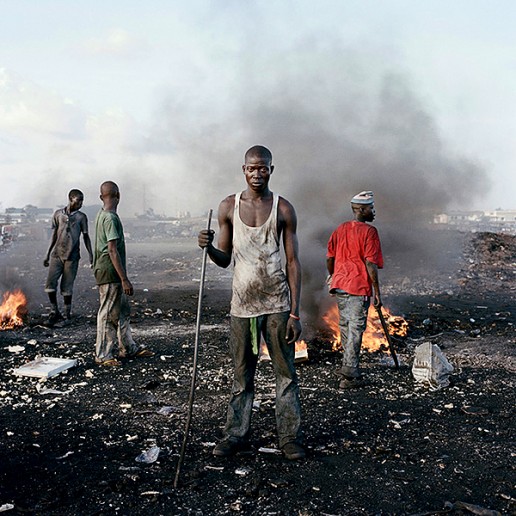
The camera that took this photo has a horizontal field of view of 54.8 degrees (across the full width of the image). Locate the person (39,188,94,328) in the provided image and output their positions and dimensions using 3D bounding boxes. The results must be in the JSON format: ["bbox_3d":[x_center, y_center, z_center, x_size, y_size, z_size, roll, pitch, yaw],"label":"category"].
[{"bbox_3d":[-2.802,-0.021,7.372,0.663,1.941,0.949,-2,4,-23],"label":"person"}]

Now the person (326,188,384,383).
[{"bbox_3d":[0.956,0.270,4.912,0.508,1.864,0.670,0,4,0],"label":"person"}]

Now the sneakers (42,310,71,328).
[{"bbox_3d":[-2.918,0.915,7.299,0.173,0.206,0.481,0,-7,16],"label":"sneakers"}]

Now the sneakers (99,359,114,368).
[{"bbox_3d":[-1.616,1.108,5.290,0.159,0.061,0.162,-1,4,-14],"label":"sneakers"}]

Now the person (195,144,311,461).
[{"bbox_3d":[-0.020,0.278,3.293,0.650,2.029,0.509,0,4,4],"label":"person"}]

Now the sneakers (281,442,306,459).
[{"bbox_3d":[0.223,1.237,3.244,0.171,0.093,0.122,1,4,11],"label":"sneakers"}]

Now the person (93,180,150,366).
[{"bbox_3d":[-1.519,0.159,5.362,0.474,1.951,0.756,-1,4,-18],"label":"person"}]

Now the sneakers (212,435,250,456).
[{"bbox_3d":[-0.182,1.238,3.332,0.255,0.118,0.095,11,0,-33],"label":"sneakers"}]

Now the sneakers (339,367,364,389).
[{"bbox_3d":[0.883,1.117,4.701,0.115,0.134,0.289,3,5,30],"label":"sneakers"}]
